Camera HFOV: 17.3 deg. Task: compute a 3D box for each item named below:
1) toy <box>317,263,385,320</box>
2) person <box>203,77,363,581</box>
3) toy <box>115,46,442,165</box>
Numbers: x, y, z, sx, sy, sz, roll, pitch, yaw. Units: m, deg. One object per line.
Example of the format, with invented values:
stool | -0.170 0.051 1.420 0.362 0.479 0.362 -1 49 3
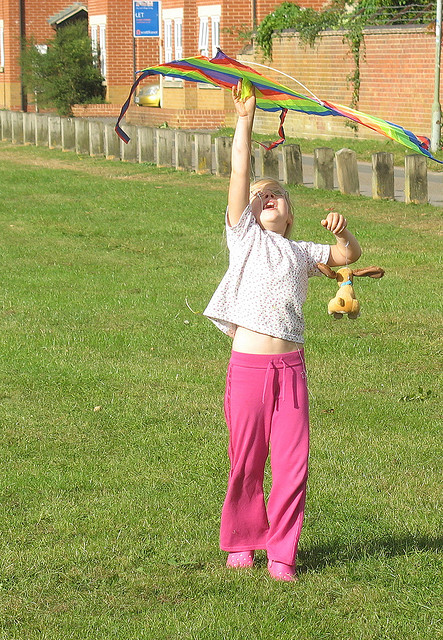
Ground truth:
toy | 0.609 -0.132 7.114 0.298 0.306 0.227 3 8 11
person | 0.249 0.090 6.898 0.522 2.230 0.605 5 11 33
toy | 0.315 -1.103 7.355 1.524 0.560 0.920 5 13 25
